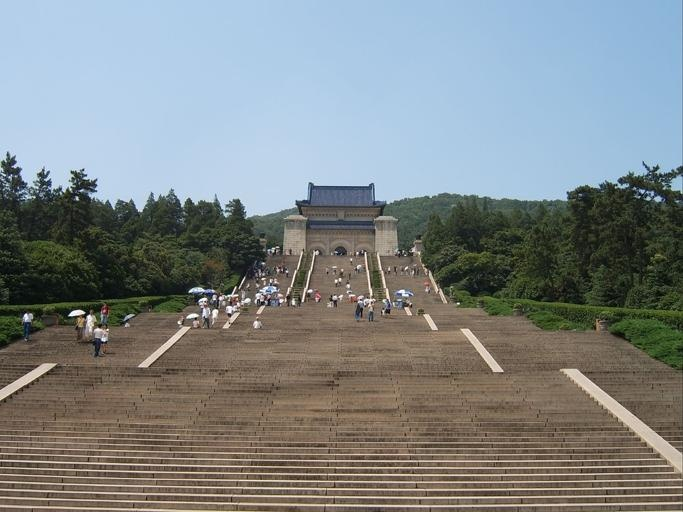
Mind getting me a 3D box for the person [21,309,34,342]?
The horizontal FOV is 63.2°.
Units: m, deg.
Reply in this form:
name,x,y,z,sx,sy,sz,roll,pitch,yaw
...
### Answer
name,x,y,z,sx,sy,sz,roll,pitch,yaw
person,-12.507,2.776,22.095,0.356,0.966,1.267,-3,5,-30
